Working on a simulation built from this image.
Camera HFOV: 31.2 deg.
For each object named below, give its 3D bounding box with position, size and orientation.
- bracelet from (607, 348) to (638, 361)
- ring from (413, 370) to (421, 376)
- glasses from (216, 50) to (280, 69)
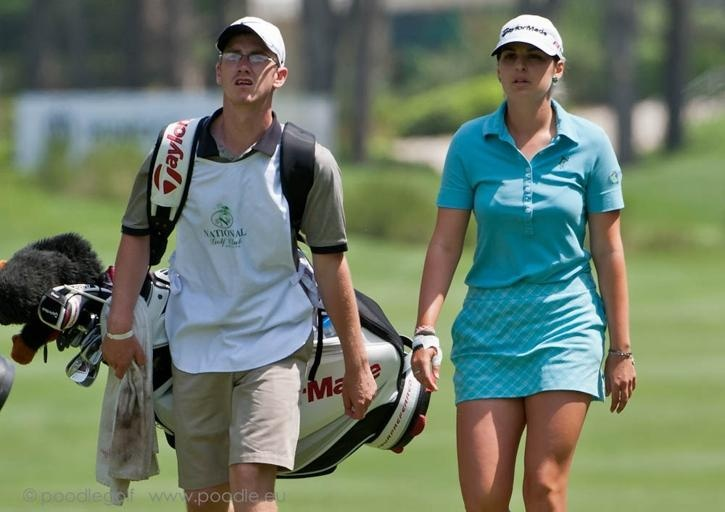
[{"bbox_3d":[1.728,0.647,8.732,0.151,0.068,0.093,2,3,16],"label":"bracelet"},{"bbox_3d":[0.373,0.772,8.717,0.052,0.024,0.071,2,1,19],"label":"ring"},{"bbox_3d":[-0.765,-1.319,8.710,0.364,0.090,0.059,1,3,2],"label":"glasses"}]
